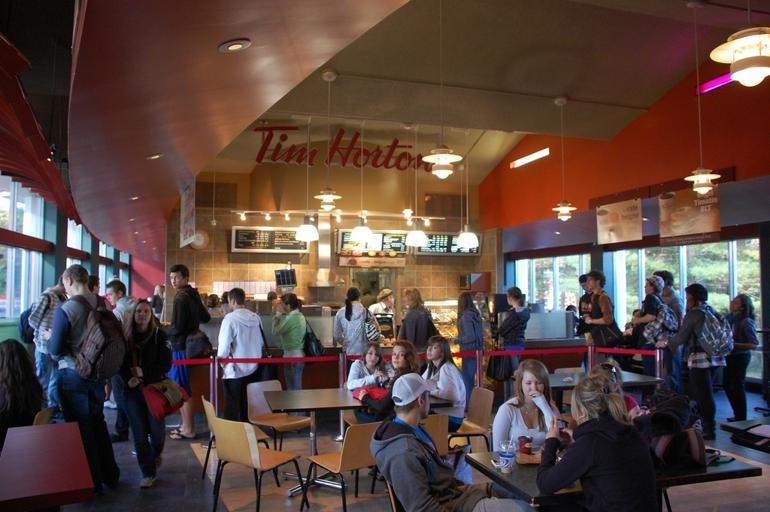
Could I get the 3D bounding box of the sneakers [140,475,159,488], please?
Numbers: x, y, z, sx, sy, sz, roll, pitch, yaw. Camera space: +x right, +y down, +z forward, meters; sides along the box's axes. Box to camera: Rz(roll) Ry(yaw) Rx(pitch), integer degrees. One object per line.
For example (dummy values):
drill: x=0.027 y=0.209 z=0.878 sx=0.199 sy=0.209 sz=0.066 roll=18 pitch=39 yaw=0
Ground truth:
sneakers: x=-2.501 y=2.403 z=6.698 sx=0.074 sy=0.087 sz=0.204 roll=2 pitch=-13 yaw=0

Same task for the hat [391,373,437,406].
hat: x=0.225 y=1.086 z=5.209 sx=0.310 sy=0.161 sz=0.187 roll=-19 pitch=15 yaw=-36

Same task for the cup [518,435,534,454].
cup: x=1.193 y=1.618 z=5.401 sx=0.129 sy=0.138 sz=0.127 roll=0 pitch=-8 yaw=0

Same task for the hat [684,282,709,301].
hat: x=4.071 y=0.457 z=8.264 sx=0.219 sy=0.283 sz=0.230 roll=9 pitch=-21 yaw=-21

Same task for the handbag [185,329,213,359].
handbag: x=-2.387 y=1.144 z=8.207 sx=0.316 sy=0.342 sz=0.340 roll=-8 pitch=1 yaw=-7

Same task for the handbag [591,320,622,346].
handbag: x=3.149 y=1.105 z=9.031 sx=0.293 sy=0.224 sz=0.402 roll=-20 pitch=15 yaw=-11

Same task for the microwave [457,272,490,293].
microwave: x=2.147 y=0.654 z=15.417 sx=0.578 sy=0.442 sz=0.812 roll=6 pitch=-9 yaw=-38

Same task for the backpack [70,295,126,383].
backpack: x=-2.868 y=0.840 z=6.343 sx=0.485 sy=0.878 sz=0.309 roll=0 pitch=-5 yaw=-15

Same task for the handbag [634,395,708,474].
handbag: x=2.427 y=1.516 z=5.369 sx=0.539 sy=0.590 sz=0.307 roll=1 pitch=-5 yaw=-21
